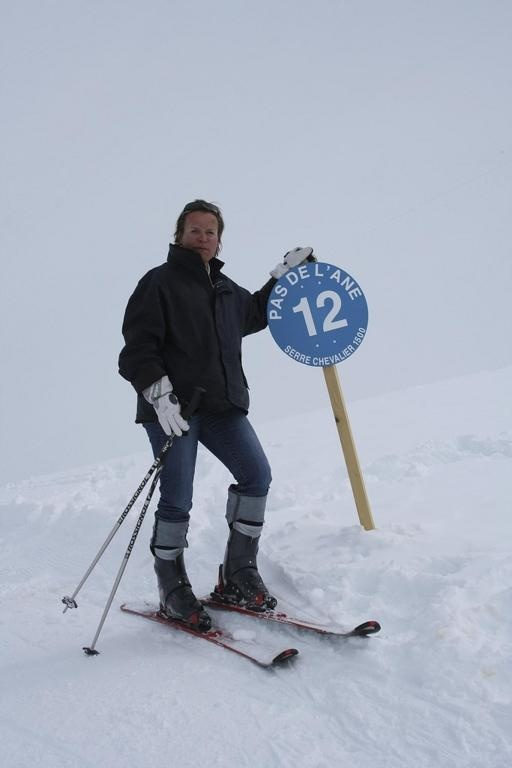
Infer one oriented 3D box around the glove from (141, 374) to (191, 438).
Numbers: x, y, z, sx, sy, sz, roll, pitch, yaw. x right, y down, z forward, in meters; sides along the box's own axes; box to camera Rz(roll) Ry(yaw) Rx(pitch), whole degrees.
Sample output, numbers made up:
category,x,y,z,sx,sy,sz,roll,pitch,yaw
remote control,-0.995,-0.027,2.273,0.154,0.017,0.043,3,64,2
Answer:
category,x,y,z,sx,sy,sz,roll,pitch,yaw
glove,-0.393,0.099,3.255,0.166,0.263,0.207,-4,3,-10
